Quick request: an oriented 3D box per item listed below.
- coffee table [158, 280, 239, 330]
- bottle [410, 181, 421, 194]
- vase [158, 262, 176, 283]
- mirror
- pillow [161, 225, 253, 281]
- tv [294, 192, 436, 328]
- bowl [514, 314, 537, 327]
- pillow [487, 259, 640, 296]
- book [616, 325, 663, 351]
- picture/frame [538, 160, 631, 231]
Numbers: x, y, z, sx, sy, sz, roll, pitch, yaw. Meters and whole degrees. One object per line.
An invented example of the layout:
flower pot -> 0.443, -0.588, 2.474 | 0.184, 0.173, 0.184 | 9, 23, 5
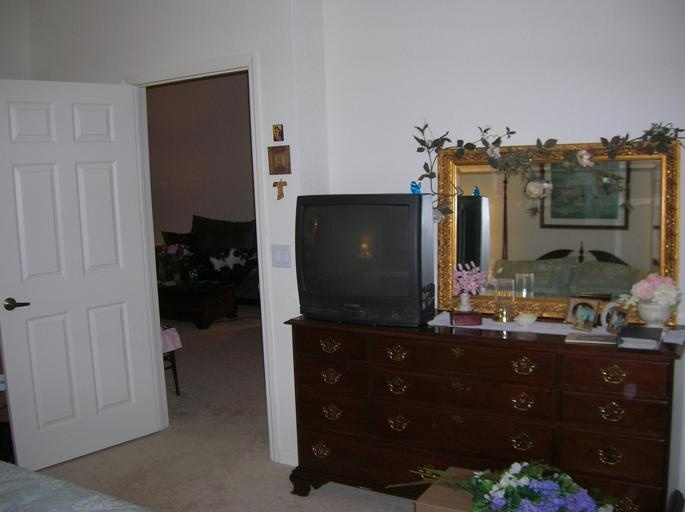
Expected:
coffee table -> -2.089, 0.735, 7.509 | 0.964, 0.473, 0.778 | -1, -9, 27
bottle -> 0.449, -0.421, 3.426 | 0.062, 0.065, 0.099 | 0, 9, 5
vase -> -2.478, 0.248, 7.836 | 0.303, 0.283, 0.166 | 0, 0, 22
mirror -> 1.263, -0.143, 3.114 | 1.111, 0.773, 0.048 | 2, 6, 26
pillow -> -1.998, -0.063, 8.051 | 1.152, 0.883, 0.479 | 4, -4, 30
tv -> 0.182, 0.028, 3.436 | 0.866, 0.746, 0.505 | 2, 0, 33
bowl -> 1.017, 0.361, 3.118 | 0.082, 0.037, 0.083 | 0, 2, 0
pillow -> 1.350, 0.128, 3.143 | 0.580, 0.209, 0.068 | 2, -9, 23
book -> 1.482, 0.404, 2.710 | 0.282, 0.096, 0.117 | -3, 10, -11
picture/frame -> 1.366, -0.345, 3.079 | 0.401, 0.325, 0.030 | 4, 13, 22
